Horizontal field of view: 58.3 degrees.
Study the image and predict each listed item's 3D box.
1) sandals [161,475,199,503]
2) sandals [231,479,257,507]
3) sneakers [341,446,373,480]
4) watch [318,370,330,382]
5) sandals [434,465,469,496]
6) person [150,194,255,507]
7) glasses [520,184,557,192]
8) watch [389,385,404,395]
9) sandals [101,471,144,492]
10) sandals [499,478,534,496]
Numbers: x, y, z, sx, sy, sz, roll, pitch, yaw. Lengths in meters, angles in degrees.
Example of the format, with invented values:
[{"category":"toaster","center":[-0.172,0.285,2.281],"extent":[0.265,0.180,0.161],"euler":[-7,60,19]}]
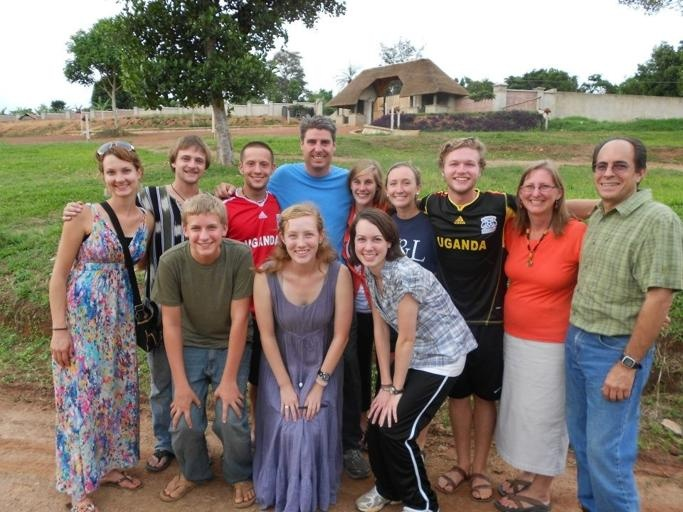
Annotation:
[{"category":"sandals","center":[-1.507,2.183,5.732],"extent":[0.129,0.161,0.383],"euler":[27,-3,19]},{"category":"sandals","center":[-0.895,2.190,5.610],"extent":[0.190,0.169,0.177],"euler":[-4,13,-8]},{"category":"sneakers","center":[0.153,2.064,6.035],"extent":[0.165,0.146,0.348],"euler":[3,-4,-28]},{"category":"watch","center":[-0.166,1.105,5.591],"extent":[0.100,0.054,0.100],"euler":[4,-6,-3]},{"category":"sandals","center":[1.046,2.157,5.862],"extent":[0.144,0.135,0.358],"euler":[29,14,39]},{"category":"person","center":[-1.221,0.844,5.590],"extent":[0.893,2.740,0.721],"euler":[-3,14,-5]},{"category":"glasses","center":[1.751,-0.590,5.434],"extent":[0.267,0.078,0.077],"euler":[1,13,14]},{"category":"watch","center":[0.479,1.185,5.334],"extent":[0.080,0.043,0.079],"euler":[14,-21,-12]},{"category":"sandals","center":[-2.059,2.123,5.766],"extent":[0.308,0.071,0.169],"euler":[6,16,7]},{"category":"sandals","center":[1.663,2.206,5.824],"extent":[0.336,0.081,0.127],"euler":[-6,25,6]}]
